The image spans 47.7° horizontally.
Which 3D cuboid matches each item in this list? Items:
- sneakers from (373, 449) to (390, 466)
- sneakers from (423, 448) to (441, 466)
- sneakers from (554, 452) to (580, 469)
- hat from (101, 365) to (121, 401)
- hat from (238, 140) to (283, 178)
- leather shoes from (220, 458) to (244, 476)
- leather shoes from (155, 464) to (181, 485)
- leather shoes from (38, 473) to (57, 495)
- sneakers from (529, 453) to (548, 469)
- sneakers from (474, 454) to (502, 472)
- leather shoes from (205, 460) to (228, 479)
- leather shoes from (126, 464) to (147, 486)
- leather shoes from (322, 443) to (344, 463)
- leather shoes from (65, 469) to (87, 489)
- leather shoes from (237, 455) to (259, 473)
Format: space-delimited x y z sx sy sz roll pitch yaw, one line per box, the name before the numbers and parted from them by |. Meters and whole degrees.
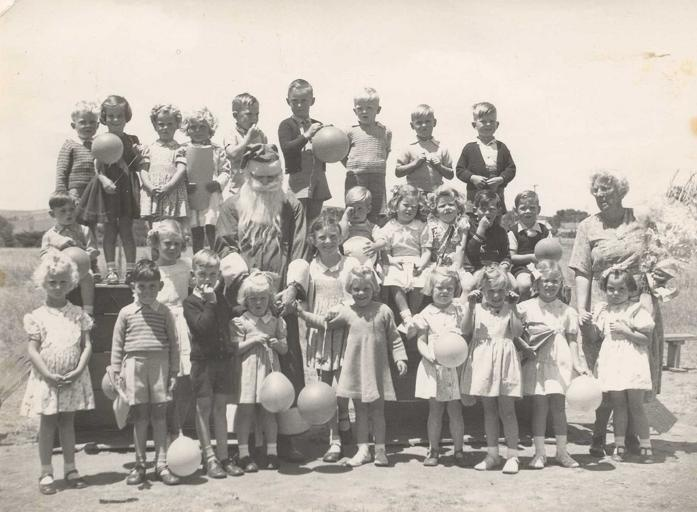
sneakers | 0.357 2.104 8.360 0.169 0.193 0.206 0 7 1
sneakers | 0.908 2.104 8.458 0.175 0.225 0.381 1 7 6
sneakers | 2.341 2.138 8.322 0.248 0.138 0.190 2 7 12
hat | -2.419 1.295 8.010 0.110 0.390 0.379 -4 8 -25
hat | -0.989 -1.082 8.961 0.437 0.375 0.320 -1 8 -8
leather shoes | -1.189 2.140 8.026 0.277 0.111 0.111 4 7 32
leather shoes | -1.811 2.172 7.875 0.330 0.130 0.119 2 5 40
leather shoes | -2.939 2.211 7.694 0.151 0.162 0.179 -3 8 -22
sneakers | 2.025 2.128 8.330 0.163 0.142 0.347 3 7 18
sneakers | 1.484 2.163 8.288 0.340 0.133 0.119 -2 6 -23
leather shoes | -1.332 2.154 7.976 0.115 0.097 0.259 3 -6 -34
leather shoes | -2.120 2.162 7.885 0.195 0.181 0.184 -2 8 -16
leather shoes | -0.167 2.103 8.434 0.190 0.187 0.147 0 8 -5
leather shoes | -2.707 2.191 7.799 0.232 0.145 0.122 3 8 22
leather shoes | -1.025 2.137 8.123 0.114 0.093 0.230 1 -5 -37
